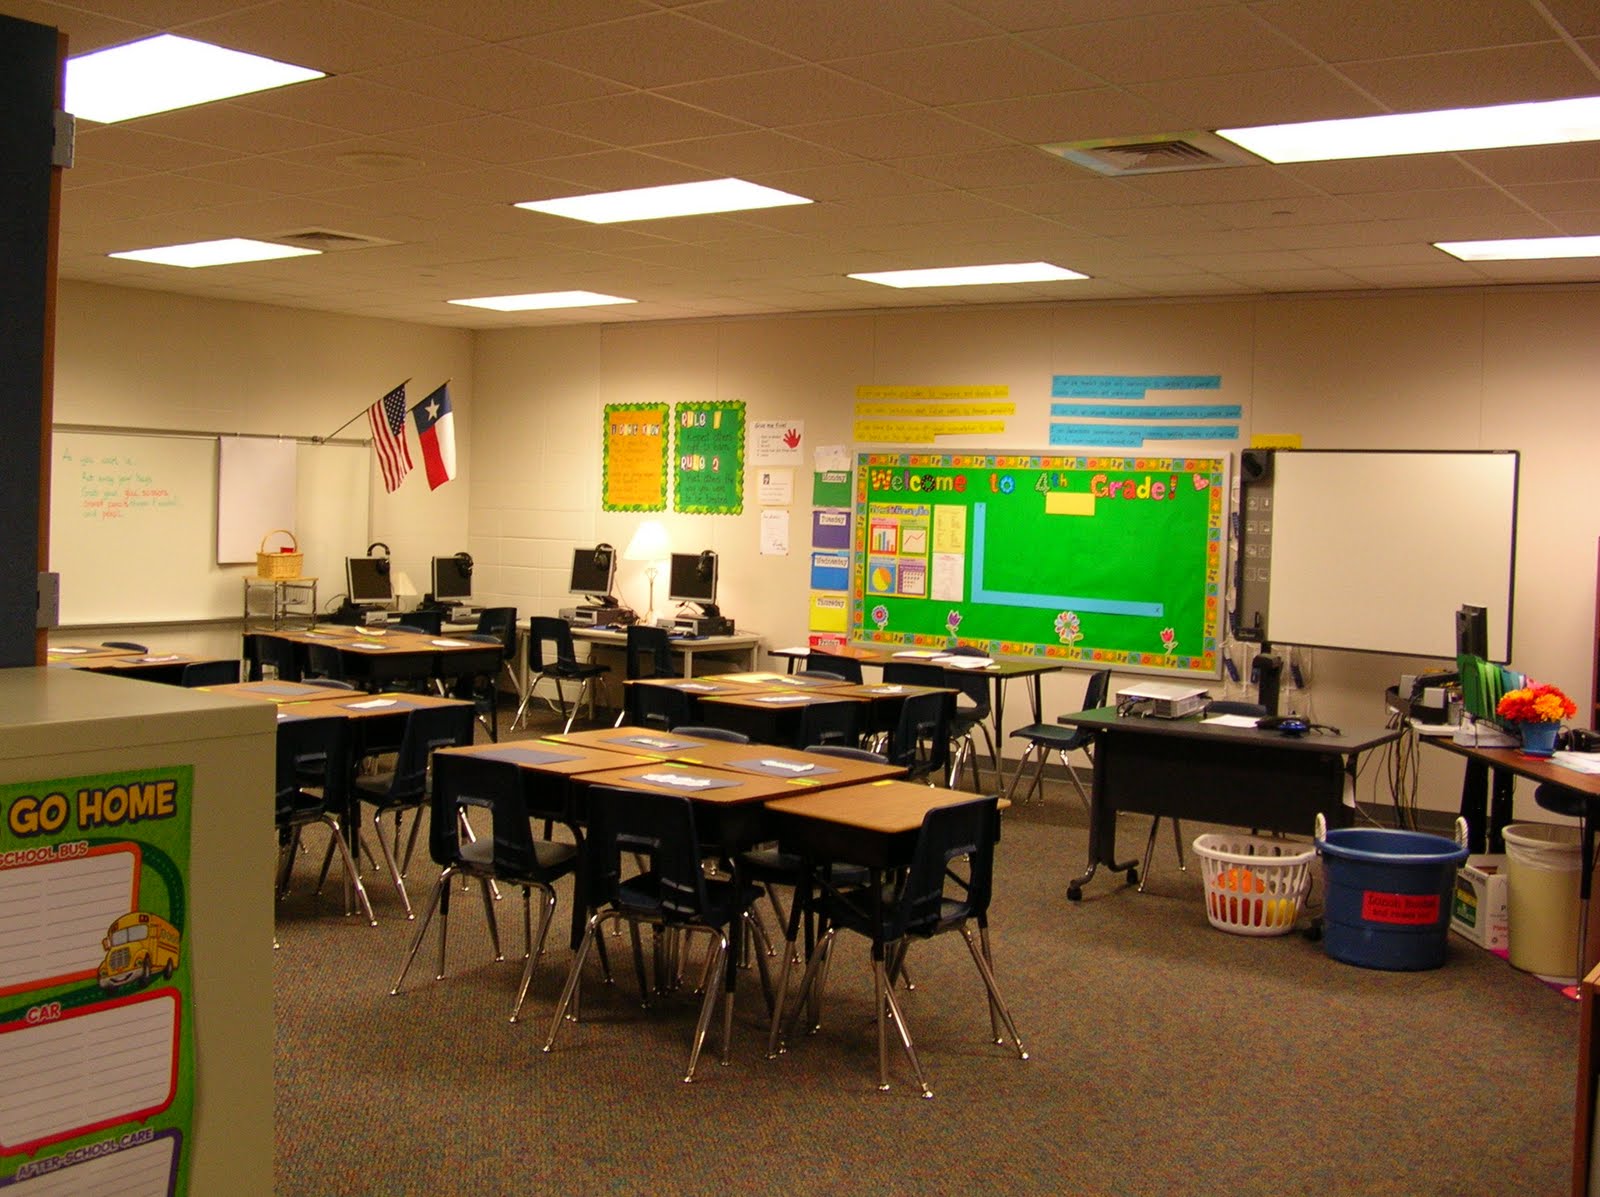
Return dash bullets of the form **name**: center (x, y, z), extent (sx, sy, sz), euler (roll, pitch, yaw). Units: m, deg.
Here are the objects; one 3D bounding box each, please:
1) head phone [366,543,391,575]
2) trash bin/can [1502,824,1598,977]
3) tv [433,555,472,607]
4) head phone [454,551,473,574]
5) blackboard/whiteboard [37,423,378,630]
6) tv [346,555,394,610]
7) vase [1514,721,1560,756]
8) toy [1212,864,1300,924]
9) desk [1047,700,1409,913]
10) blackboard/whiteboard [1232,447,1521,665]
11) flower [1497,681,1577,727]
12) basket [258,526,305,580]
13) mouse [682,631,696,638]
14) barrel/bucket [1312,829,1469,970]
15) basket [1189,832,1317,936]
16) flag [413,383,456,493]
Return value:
- **head phone**: center (-4.037, -0.397, 10.960), extent (0.141, 0.300, 0.320), euler (2, -6, -15)
- **trash bin/can**: center (3.483, 1.432, 5.420), extent (0.248, 0.609, 0.382), euler (1, 5, -5)
- **tv**: center (-3.469, -0.212, 11.444), extent (0.608, 0.557, 0.403), euler (1, 2, -20)
- **head phone**: center (-3.382, -0.391, 11.543), extent (0.242, 0.214, 0.189), euler (-3, -3, 35)
- **blackboard/whiteboard**: center (-5.155, -0.633, 10.061), extent (0.283, 1.653, 2.486), euler (7, 7, 41)
- **tv**: center (-4.024, -0.164, 10.704), extent (0.563, 0.599, 0.200), euler (0, -3, -35)
- **vase**: center (3.559, 0.663, 5.581), extent (0.170, 0.120, 0.169), euler (-2, -3, 42)
- **toy**: center (2.252, 1.496, 5.790), extent (0.337, 0.202, 0.340), euler (2, 4, 32)
- **desk**: center (2.294, 1.206, 6.262), extent (1.499, 0.908, 0.786), euler (0, -6, 36)
- **blackboard/whiteboard**: center (3.747, -0.314, 7.622), extent (0.061, 1.343, 1.774), euler (-5, 8, -37)
- **flower**: center (3.603, 0.511, 5.598), extent (0.278, 0.149, 0.264), euler (1, -2, -34)
- **basket**: center (-4.696, -0.410, 10.331), extent (0.379, 0.488, 0.504), euler (1, -1, -36)
- **mouse**: center (-0.947, 0.283, 9.751), extent (0.069, 0.060, 0.026), euler (5, 2, 16)
- **barrel/bucket**: center (2.854, 1.383, 5.606), extent (0.717, 0.636, 0.673), euler (1, -1, 0)
- **basket**: center (2.293, 1.441, 5.931), extent (0.556, 0.333, 0.528), euler (-1, 3, -26)
- **flag**: center (-3.389, -1.537, 10.607), extent (0.313, 0.981, 0.952), euler (0, 5, -20)
